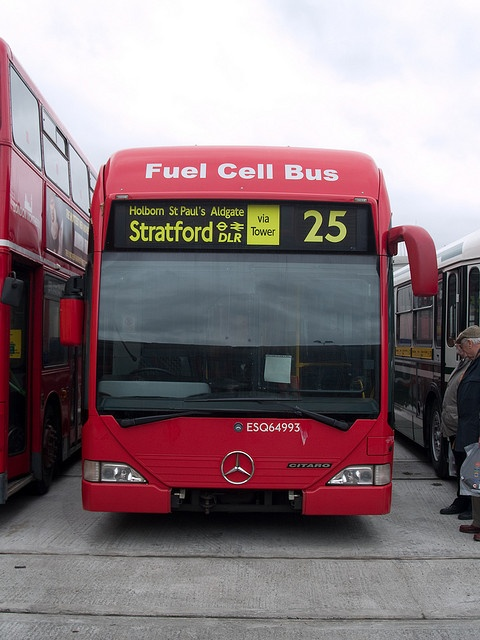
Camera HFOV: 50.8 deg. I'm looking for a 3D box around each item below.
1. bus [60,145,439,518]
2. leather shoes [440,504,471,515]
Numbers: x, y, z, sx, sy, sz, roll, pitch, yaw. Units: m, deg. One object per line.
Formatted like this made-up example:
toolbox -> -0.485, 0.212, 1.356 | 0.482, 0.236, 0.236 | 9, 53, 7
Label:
bus -> -0.063, 0.141, 5.383 | 1.880, 2.505, 3.488 | 0, -3, -1
leather shoes -> 2.260, 1.970, 5.267 | 0.264, 0.144, 0.099 | 5, -4, -13
